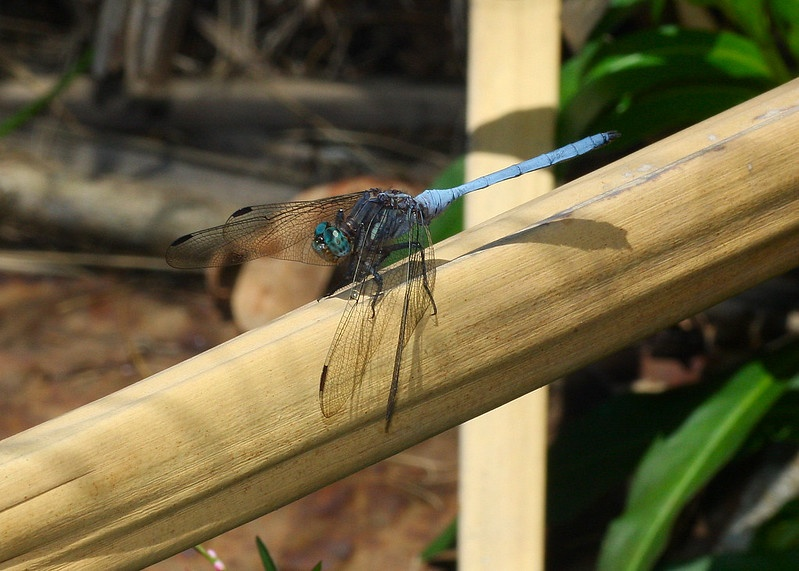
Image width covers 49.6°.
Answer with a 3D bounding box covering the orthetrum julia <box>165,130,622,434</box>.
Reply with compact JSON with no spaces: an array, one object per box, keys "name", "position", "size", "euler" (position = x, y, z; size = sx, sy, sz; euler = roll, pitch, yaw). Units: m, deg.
[{"name":"orthetrum julia","position":[-0.169,-0.082,1.747],"size":[0.724,0.367,0.801],"euler":[18,35,14]}]
